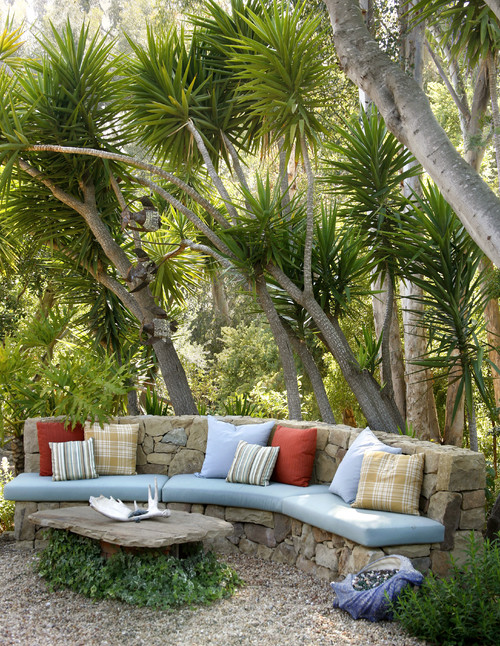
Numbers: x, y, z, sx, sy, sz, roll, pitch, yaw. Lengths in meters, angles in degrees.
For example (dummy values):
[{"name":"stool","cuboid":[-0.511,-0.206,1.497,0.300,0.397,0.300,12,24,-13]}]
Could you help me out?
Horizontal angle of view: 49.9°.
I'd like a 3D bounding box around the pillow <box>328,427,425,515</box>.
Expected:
[{"name":"pillow","cuboid":[0.701,0.831,2.946,0.109,0.379,0.364,28,-15,-28]}]
